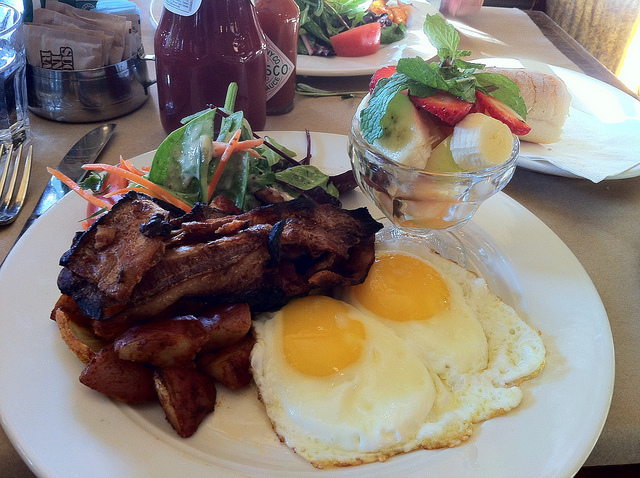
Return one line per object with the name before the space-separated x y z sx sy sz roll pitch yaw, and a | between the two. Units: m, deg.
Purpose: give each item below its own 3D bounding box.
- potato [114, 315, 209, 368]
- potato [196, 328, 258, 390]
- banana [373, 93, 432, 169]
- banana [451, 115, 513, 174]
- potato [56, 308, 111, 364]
potato | -0.420 0.290 1.357 0.153 0.044 0.151 36 51 10
potato | -0.254 0.335 1.407 0.133 0.047 0.128 23 48 20
banana | 0.223 -0.333 1.595 0.161 0.197 0.204 0 21 -7
banana | 0.470 -0.281 1.583 0.180 0.163 0.133 -9 6 -26
potato | -0.640 0.253 1.369 0.057 0.144 0.142 -40 83 4
